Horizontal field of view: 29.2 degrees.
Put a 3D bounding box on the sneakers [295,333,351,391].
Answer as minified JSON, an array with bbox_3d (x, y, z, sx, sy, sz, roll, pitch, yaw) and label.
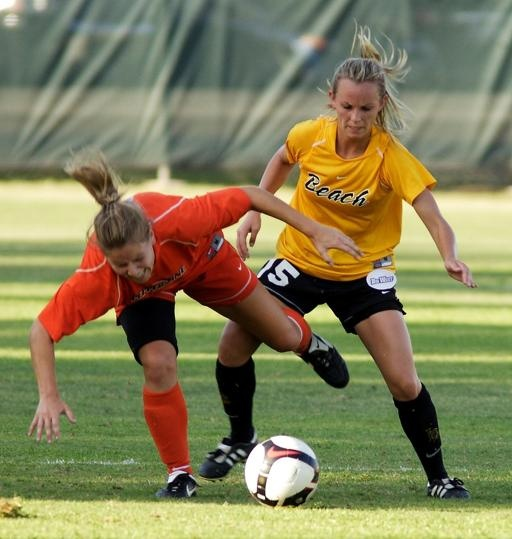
[{"bbox_3d":[0.370,0.493,5.180,0.154,0.434,0.172,-45,20,25],"label":"sneakers"}]

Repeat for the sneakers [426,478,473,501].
[{"bbox_3d":[0.848,0.983,4.339,0.186,0.058,0.158,-2,11,8],"label":"sneakers"}]

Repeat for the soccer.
[{"bbox_3d":[0.109,0.877,4.241,0.313,0.242,0.263,-6,12,-3],"label":"soccer"}]

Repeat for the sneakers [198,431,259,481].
[{"bbox_3d":[-0.147,0.916,4.813,0.123,0.136,0.360,14,23,41],"label":"sneakers"}]

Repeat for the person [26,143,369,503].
[{"bbox_3d":[-0.157,0.220,4.547,1.000,1.364,2.122,-21,-10,34],"label":"person"}]

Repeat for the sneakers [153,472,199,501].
[{"bbox_3d":[-0.330,0.939,4.245,0.079,0.070,0.211,11,6,39],"label":"sneakers"}]
